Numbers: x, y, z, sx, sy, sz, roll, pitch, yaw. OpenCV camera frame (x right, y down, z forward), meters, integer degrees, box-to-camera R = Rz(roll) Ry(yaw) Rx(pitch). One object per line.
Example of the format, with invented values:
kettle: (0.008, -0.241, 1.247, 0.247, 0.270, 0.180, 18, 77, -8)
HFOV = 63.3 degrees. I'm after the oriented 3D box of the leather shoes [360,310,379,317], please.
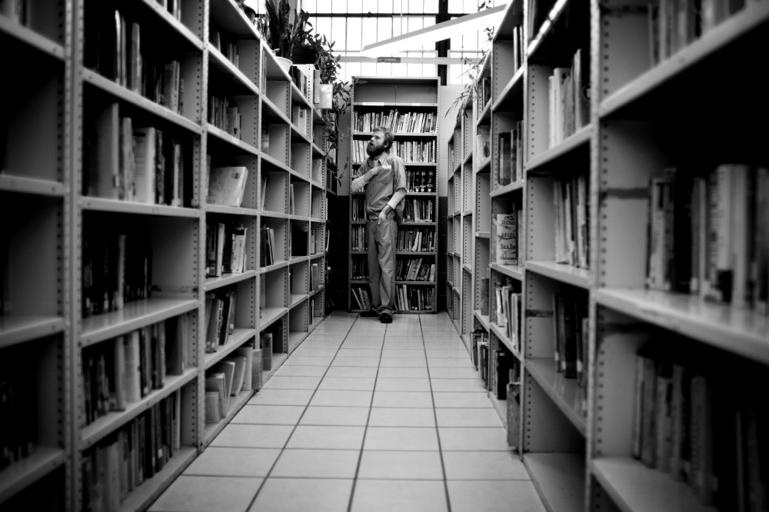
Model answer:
leather shoes: (-0.144, 0.592, 6.379, 0.220, 0.094, 0.077, -4, 5, 6)
